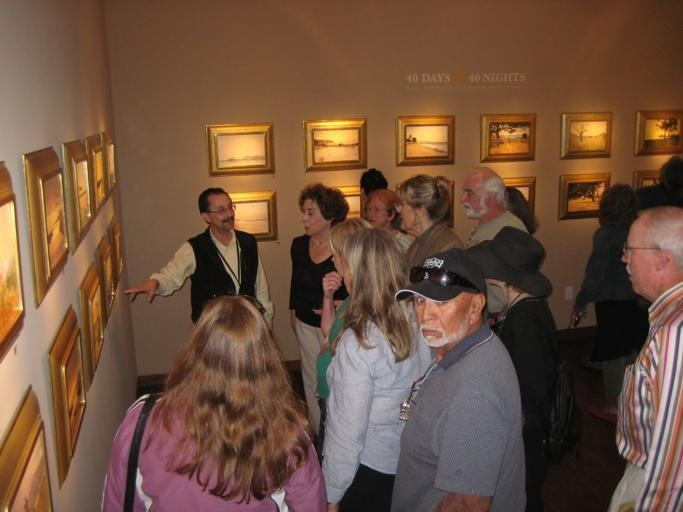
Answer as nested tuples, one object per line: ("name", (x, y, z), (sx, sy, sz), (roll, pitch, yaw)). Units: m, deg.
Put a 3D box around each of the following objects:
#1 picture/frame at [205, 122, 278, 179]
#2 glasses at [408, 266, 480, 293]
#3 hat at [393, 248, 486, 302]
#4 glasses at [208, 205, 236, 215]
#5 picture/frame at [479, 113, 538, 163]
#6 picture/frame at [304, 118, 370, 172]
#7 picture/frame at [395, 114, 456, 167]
("picture/frame", (-1.121, -1.186, 5.852), (0.572, 0.439, 0.027), (-3, 11, -13))
("glasses", (0.444, 0.095, 2.379), (0.306, 0.111, 0.097), (5, 13, 25))
("hat", (0.436, 0.084, 2.382), (0.306, 0.175, 0.224), (-4, 1, -37))
("glasses", (-1.060, -0.416, 4.741), (0.218, 0.096, 0.084), (-8, 14, -32))
("picture/frame", (1.996, -1.465, 6.507), (0.573, 0.468, 0.025), (-3, 18, -9))
("picture/frame", (-0.080, -1.293, 6.075), (0.597, 0.457, 0.030), (-2, 17, -9))
("picture/frame", (0.958, -1.400, 6.298), (0.582, 0.479, 0.029), (-1, 8, -6))
